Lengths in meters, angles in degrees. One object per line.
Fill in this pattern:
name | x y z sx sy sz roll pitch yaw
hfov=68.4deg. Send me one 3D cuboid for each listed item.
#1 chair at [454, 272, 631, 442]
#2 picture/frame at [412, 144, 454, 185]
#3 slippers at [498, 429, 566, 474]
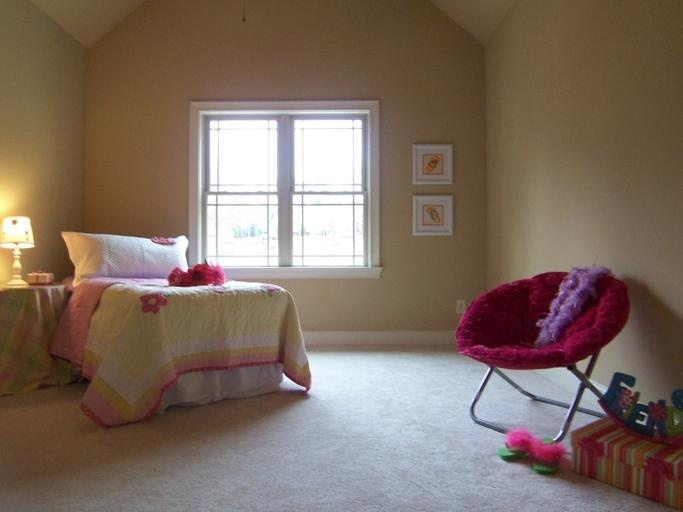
chair | 1.176 0.567 3.023 0.905 0.909 0.864 7 12 33
picture/frame | 0.876 -0.885 4.884 0.388 0.454 0.040 1 -19 8
slippers | 0.994 1.021 2.628 0.188 0.065 0.193 -3 2 40
